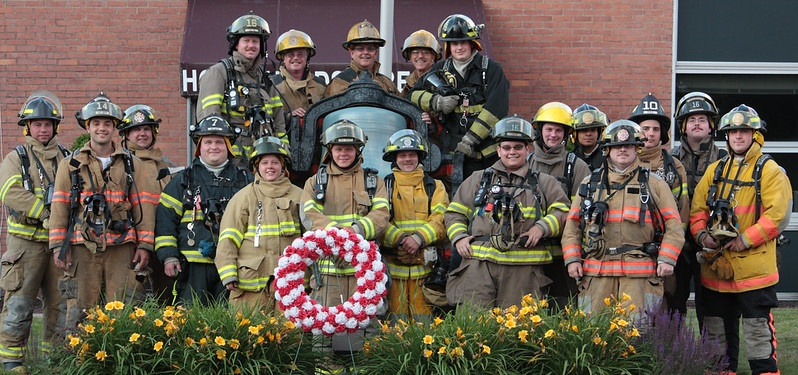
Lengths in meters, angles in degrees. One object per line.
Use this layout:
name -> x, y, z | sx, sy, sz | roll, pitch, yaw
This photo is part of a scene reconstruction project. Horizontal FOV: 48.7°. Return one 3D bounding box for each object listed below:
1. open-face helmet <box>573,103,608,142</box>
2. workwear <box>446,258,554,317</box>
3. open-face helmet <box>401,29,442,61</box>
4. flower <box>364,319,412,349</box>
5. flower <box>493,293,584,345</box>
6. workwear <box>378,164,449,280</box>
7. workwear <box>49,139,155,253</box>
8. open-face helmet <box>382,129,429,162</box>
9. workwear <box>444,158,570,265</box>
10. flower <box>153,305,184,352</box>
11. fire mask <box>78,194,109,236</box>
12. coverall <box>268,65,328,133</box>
open-face helmet -> 3.397, -1.208, 15.909 | 0.686, 0.540, 0.713 | -7, 6, -26
workwear -> 1.813, 1.514, 15.126 | 1.538, 1.182, 0.818 | 7, -5, 34
open-face helmet -> 0.435, -2.822, 17.330 | 0.657, 0.495, 0.666 | 2, 6, 5
flower -> -0.133, 2.264, 13.970 | 0.592, 0.293, 0.541 | -9, 34, 37
flower -> 2.245, 2.072, 14.180 | 1.133, 0.605, 1.058 | 35, -28, -21
workwear -> 0.297, 0.604, 14.812 | 1.651, 1.690, 0.684 | 1, -5, -2
workwear -> -5.105, 0.166, 15.349 | 1.925, 1.623, 1.102 | -1, 6, 9
open-face helmet -> 0.178, -0.772, 15.557 | 0.782, 0.550, 0.836 | -2, -11, 7
workwear -> 1.959, 0.396, 15.190 | 2.367, 1.591, 1.240 | 1, 7, 30
flower -> -3.611, 2.235, 13.852 | 0.496, 0.679, 0.327 | 0, -1, -18
fire mask -> -5.210, 0.482, 15.045 | 0.615, 0.655, 0.413 | 2, 1, -6
coverall -> -2.074, -1.613, 16.931 | 0.759, 0.951, 0.830 | -7, 6, 15
